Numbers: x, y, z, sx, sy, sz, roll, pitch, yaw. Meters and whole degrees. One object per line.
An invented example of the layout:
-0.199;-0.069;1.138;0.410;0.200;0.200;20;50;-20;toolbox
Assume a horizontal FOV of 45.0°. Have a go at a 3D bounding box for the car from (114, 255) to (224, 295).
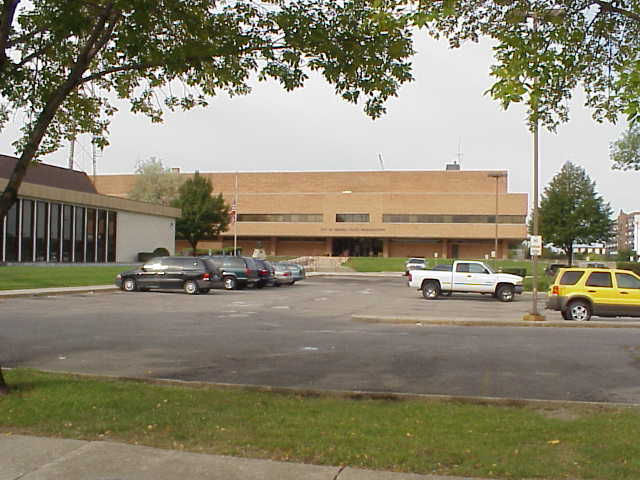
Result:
-6.686;1.533;34.653;3.941;1.431;1.843;3;-2;13;car
